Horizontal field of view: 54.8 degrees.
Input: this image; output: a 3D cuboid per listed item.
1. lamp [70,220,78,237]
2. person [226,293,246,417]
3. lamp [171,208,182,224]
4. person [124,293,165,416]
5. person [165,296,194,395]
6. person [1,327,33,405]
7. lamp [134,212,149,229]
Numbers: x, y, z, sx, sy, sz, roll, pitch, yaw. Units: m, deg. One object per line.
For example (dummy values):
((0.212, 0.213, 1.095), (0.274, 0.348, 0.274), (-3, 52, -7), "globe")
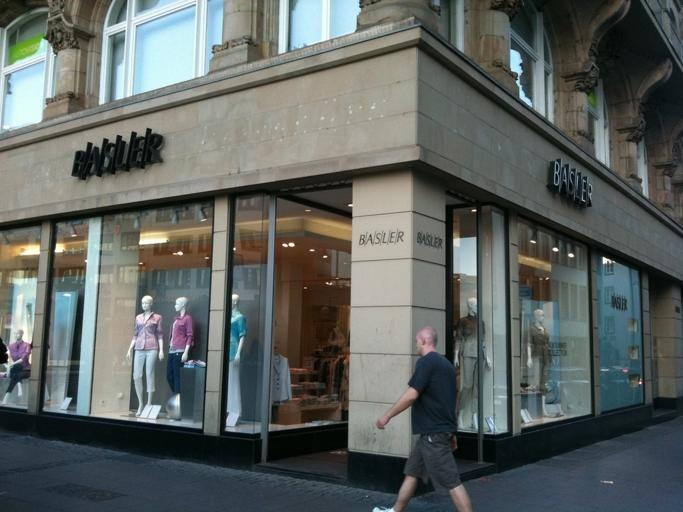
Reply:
((-5.586, -0.553, 13.809), (0.226, 0.323, 0.054), (-2, -6, 39), "lamp")
((-1.789, 1.775, 11.254), (0.321, 2.234, 0.158), (-2, -6, 33), "person")
((-3.090, -0.731, 12.435), (0.260, 0.353, 0.281), (2, -1, -15), "lamp")
((-3.716, 1.851, 12.444), (0.878, 2.199, 0.224), (-2, -6, 36), "person")
((-2.937, 1.637, 12.021), (0.651, 1.770, 0.157), (-3, -7, 44), "person")
((-6.978, 2.396, 14.213), (0.996, 1.614, 0.264), (-2, -6, 36), "person")
((-3.883, -0.689, 12.843), (0.439, 0.329, 0.094), (-3, -7, 43), "lamp")
